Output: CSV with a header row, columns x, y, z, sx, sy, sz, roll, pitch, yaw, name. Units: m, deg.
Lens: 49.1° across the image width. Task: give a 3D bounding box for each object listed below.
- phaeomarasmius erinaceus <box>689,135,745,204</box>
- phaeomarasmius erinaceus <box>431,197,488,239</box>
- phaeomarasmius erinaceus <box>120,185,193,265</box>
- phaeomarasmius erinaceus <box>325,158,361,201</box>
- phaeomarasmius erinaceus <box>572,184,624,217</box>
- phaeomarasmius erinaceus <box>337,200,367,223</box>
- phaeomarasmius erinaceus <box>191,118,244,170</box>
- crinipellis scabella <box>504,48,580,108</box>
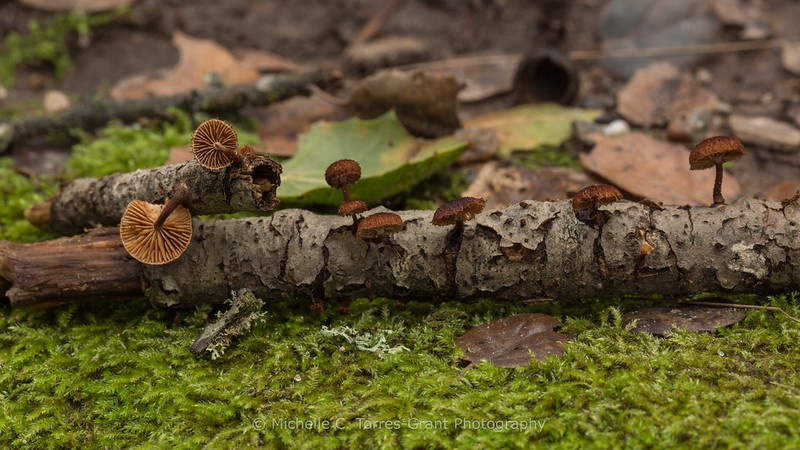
x,y,z,sx,sy,sz,roll,pitch,yaw,name
2.782,-0.476,7.706,0.437,0.608,0.188,-1,21,15,phaeomarasmius erinaceus
0.517,-0.073,7.729,0.474,0.363,0.261,-5,20,1,phaeomarasmius erinaceus
-2.119,0.011,7.661,0.626,0.664,0.214,-10,21,-11,phaeomarasmius erinaceus
-0.507,-0.399,7.901,0.268,0.374,0.202,-19,24,-32,phaeomarasmius erinaceus
1.737,-0.224,7.752,0.490,0.248,0.430,-7,-1,3,phaeomarasmius erinaceus
-0.385,-0.119,7.786,0.234,0.201,0.223,-4,8,19,phaeomarasmius erinaceus
-1.567,-0.682,7.450,0.462,0.396,0.175,30,5,-20,phaeomarasmius erinaceus
1.244,-1.264,7.526,0.584,0.489,0.084,-9,21,-11,crinipellis scabella
